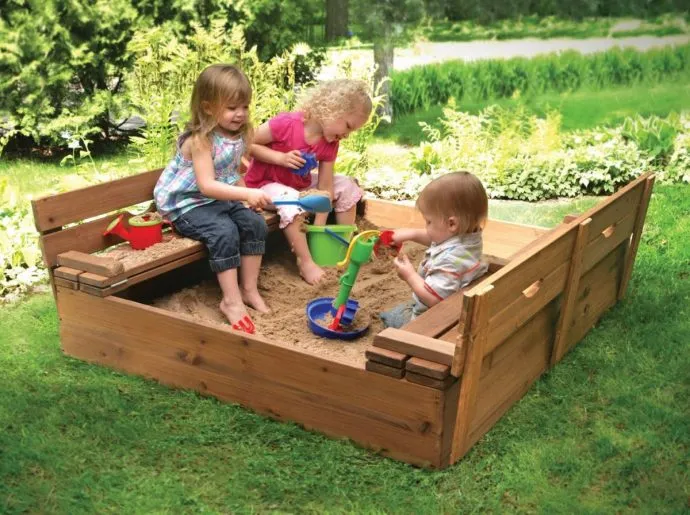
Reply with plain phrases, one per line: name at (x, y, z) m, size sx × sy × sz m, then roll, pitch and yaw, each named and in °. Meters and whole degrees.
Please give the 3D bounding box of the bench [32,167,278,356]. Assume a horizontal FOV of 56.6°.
bench at (-1.144, -0.107, 3.888) m, size 0.519 × 0.704 × 1.361 m, roll 12°, pitch 22°, yaw 18°

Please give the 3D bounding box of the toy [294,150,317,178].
toy at (-0.231, -0.579, 4.016) m, size 0.142 × 0.136 × 0.064 m, roll 28°, pitch -6°, yaw 24°

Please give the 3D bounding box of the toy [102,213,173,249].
toy at (-1.185, -0.156, 3.591) m, size 0.286 × 0.204 × 0.171 m, roll -11°, pitch 26°, yaw -34°

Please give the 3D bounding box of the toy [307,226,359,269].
toy at (-0.102, -0.094, 4.033) m, size 0.324 × 0.256 × 0.333 m, roll 0°, pitch 11°, yaw -10°

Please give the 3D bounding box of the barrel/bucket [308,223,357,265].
barrel/bucket at (-0.095, -0.076, 4.029) m, size 0.313 × 0.259 × 0.308 m, roll 0°, pitch 5°, yaw 0°

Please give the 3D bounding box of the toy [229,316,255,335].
toy at (-0.556, 0.364, 3.504) m, size 0.130 × 0.071 × 0.134 m, roll -11°, pitch 25°, yaw -25°
